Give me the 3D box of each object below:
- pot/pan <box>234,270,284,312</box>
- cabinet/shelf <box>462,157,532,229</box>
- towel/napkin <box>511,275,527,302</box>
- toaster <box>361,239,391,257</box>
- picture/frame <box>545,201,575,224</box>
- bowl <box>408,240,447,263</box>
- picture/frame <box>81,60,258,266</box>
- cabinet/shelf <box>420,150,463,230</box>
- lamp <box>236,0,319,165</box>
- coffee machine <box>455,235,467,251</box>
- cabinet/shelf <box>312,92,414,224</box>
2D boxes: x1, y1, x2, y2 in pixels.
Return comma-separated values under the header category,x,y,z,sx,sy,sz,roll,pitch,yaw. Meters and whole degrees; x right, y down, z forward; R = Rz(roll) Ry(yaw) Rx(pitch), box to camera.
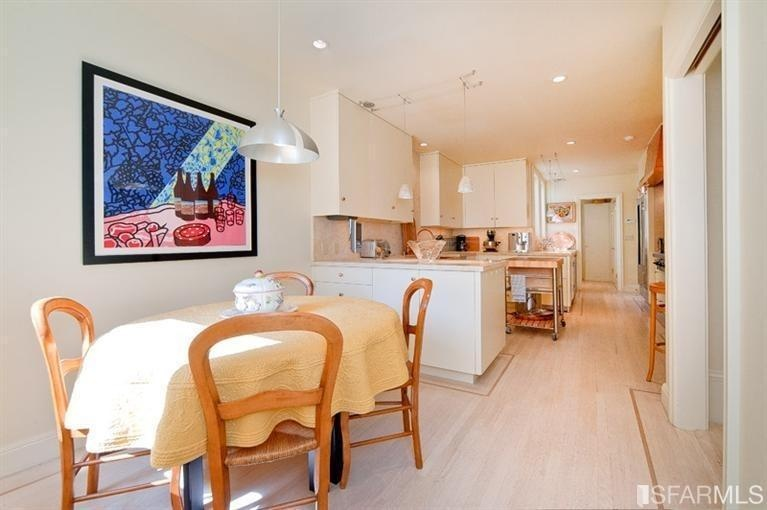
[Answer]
category,x,y,z,sx,sy,sz,roll,pitch,yaw
pot/pan,-0.812,0.242,3.330,0.273,0.215,0.269,-1,-5,-2
cabinet/shelf,1.686,-0.908,7.486,0.973,0.938,0.547,0,1,34
towel/napkin,1.522,0.369,5.851,0.161,0.301,0.057,-1,3,44
toaster,-0.111,-0.058,5.622,0.185,0.176,0.278,-2,-3,26
picture/frame,3.289,-0.783,9.564,0.403,0.344,0.043,4,7,41
bowl,0.403,-0.045,4.717,0.263,0.149,0.238,0,-7,9
picture/frame,-1.689,-0.699,3.941,0.070,1.609,1.747,-2,-1,38
cabinet/shelf,0.755,-0.895,7.029,0.374,0.974,1.074,-1,-2,26
lamp,-0.757,-1.293,3.881,0.533,1.247,1.099,-3,2,0
coffee machine,1.178,-0.186,7.911,0.204,0.321,0.221,-1,0,22
cabinet/shelf,-0.247,-0.987,5.174,0.325,0.886,1.262,-1,-3,25
